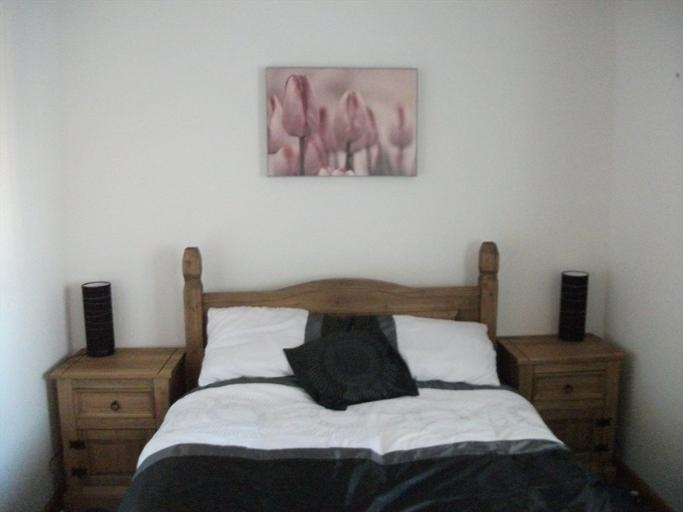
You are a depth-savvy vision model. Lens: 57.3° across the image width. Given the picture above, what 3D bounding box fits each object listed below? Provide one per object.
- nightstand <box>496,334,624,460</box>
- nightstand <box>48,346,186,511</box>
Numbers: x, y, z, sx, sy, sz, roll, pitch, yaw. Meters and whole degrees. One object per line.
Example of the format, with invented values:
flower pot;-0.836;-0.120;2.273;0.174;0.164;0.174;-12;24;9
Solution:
nightstand;1.390;0.834;4.238;0.769;1.038;0.697;-2;11;-2
nightstand;-1.403;1.038;4.139;0.930;1.205;0.810;0;3;2
